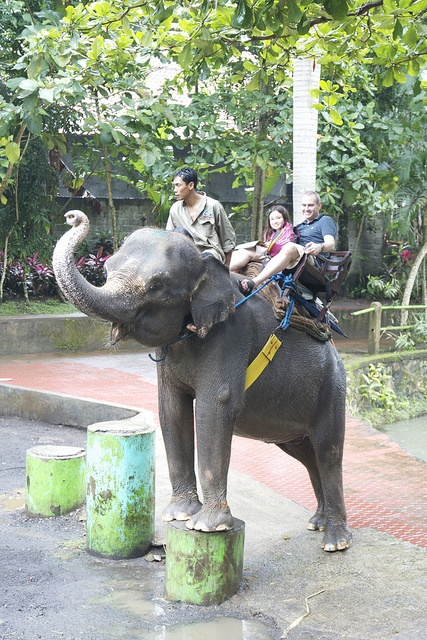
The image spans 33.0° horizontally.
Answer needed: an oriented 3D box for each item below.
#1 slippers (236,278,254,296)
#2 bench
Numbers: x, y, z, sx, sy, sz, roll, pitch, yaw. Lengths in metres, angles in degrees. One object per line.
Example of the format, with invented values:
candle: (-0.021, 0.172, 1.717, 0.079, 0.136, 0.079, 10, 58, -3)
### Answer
slippers: (0.150, -0.153, 3.298, 0.064, 0.074, 0.031, 0, 5, -4)
bench: (0.458, -0.201, 3.598, 0.331, 0.365, 0.336, 9, -9, 36)
